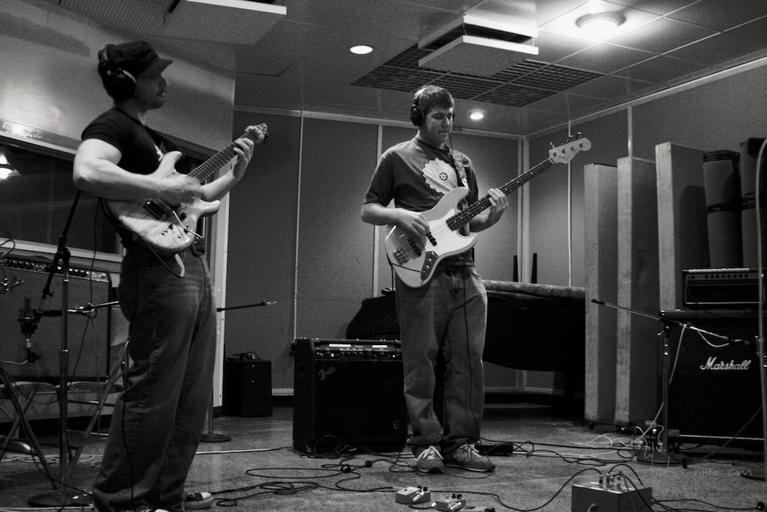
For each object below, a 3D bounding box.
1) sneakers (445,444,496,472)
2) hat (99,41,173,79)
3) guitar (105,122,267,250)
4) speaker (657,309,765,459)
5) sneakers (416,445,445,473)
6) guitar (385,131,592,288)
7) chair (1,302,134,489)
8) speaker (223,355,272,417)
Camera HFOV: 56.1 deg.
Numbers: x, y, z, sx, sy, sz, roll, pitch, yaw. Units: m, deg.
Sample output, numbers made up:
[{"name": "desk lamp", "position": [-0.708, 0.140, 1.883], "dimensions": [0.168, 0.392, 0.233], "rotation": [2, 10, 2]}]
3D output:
[{"name": "sneakers", "position": [0.540, 1.276, 4.539], "dimensions": [0.312, 0.124, 0.133], "rotation": [0, -8, 21]}, {"name": "hat", "position": [-1.244, -0.995, 3.593], "dimensions": [0.309, 0.120, 0.207], "rotation": [-6, 36, -18]}, {"name": "guitar", "position": [-0.936, -0.343, 3.651], "dimensions": [0.339, 0.796, 0.107], "rotation": [48, -43, -11]}, {"name": "speaker", "position": [2.400, 0.903, 5.224], "dimensions": [0.692, 1.019, 0.416], "rotation": [1, -6, 18]}, {"name": "sneakers", "position": [0.280, 1.254, 4.431], "dimensions": [0.176, 0.163, 0.106], "rotation": [2, -6, 13]}, {"name": "guitar", "position": [0.571, -0.264, 4.637], "dimensions": [1.103, 0.993, 0.329], "rotation": [3, -6, -1]}, {"name": "chair", "position": [-2.050, 0.870, 4.576], "dimensions": [0.749, 1.030, 0.769], "rotation": [-13, -36, 27]}, {"name": "speaker", "position": [-1.396, 1.356, 7.310], "dimensions": [0.379, 0.659, 0.679], "rotation": [3, -8, -32]}]
